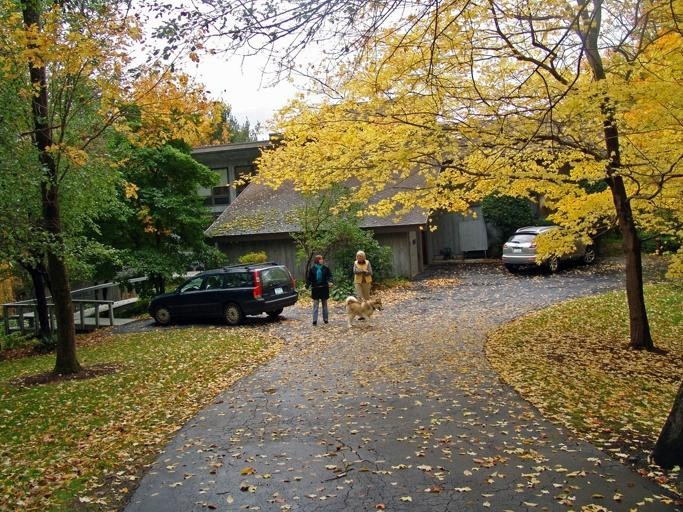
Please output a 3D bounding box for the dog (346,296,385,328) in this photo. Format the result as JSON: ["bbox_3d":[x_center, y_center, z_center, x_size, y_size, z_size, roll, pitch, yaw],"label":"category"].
[{"bbox_3d":[0.567,1.517,15.081,0.838,0.775,0.757,6,15,41],"label":"dog"}]
